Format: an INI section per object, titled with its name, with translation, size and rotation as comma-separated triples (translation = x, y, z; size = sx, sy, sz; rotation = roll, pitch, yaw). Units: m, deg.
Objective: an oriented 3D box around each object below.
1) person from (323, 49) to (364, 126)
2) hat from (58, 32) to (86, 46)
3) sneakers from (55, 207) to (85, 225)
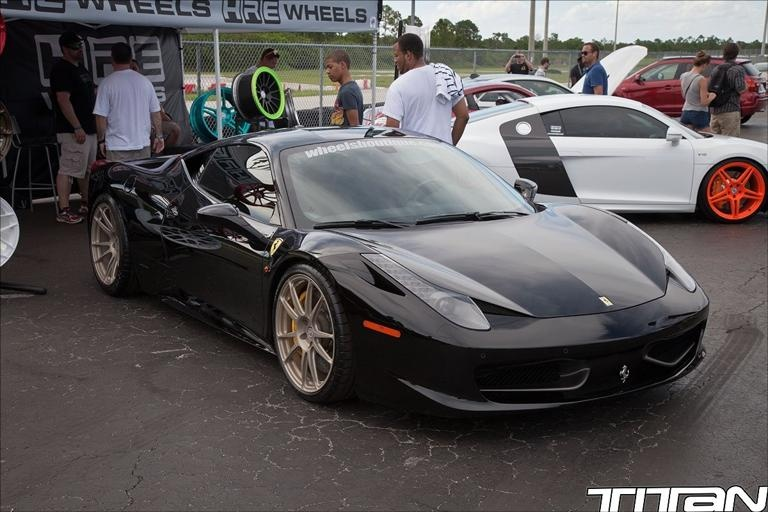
[person]
translation = -0.558, -2.429, 7.328
size = 0.518, 1.055, 0.906
rotation = -1, 17, -8
[hat]
translation = -4.856, -3.356, 7.919
size = 0.267, 0.238, 0.299
rotation = -9, 19, -31
[sneakers]
translation = -5.102, -0.639, 8.220
size = 0.592, 0.239, 0.242
rotation = 3, 12, 12
